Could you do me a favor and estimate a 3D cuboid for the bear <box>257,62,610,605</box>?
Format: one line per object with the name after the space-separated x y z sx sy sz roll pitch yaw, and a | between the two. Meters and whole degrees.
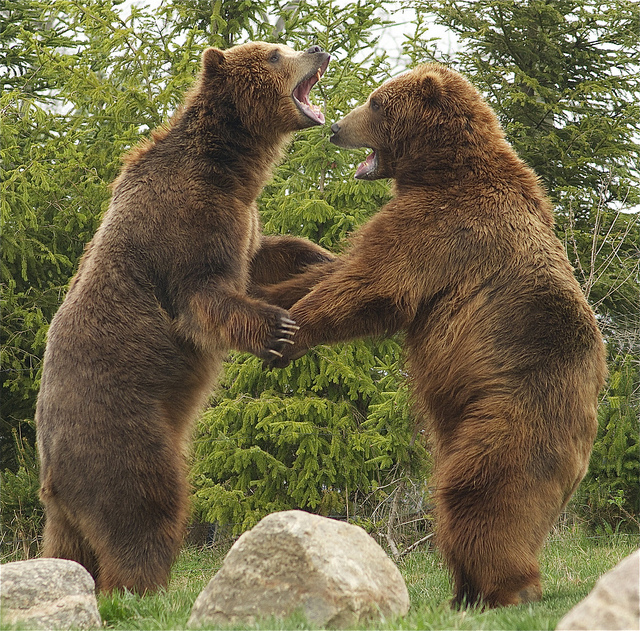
0.883 0.073 7.795 1.970 3.313 1.034 14 13 26 | bear
